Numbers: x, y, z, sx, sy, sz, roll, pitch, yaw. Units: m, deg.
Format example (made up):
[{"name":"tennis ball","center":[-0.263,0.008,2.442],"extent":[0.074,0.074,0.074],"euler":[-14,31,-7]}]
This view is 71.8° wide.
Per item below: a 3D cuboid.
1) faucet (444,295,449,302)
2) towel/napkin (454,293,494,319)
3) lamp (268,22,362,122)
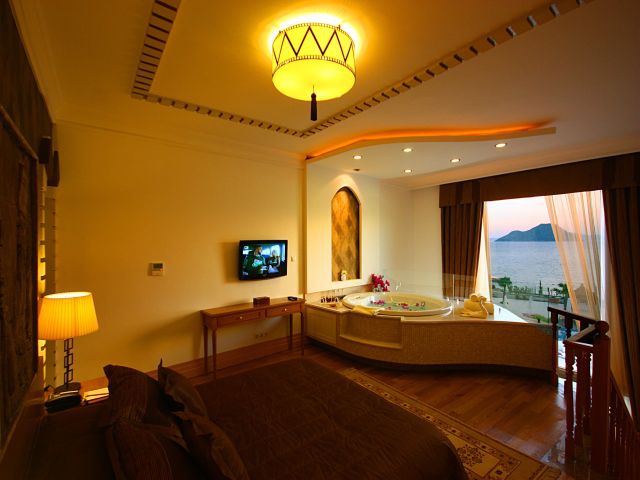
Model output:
[{"name":"faucet","center":[1.860,0.860,6.455],"extent":[0.064,0.061,0.199],"euler":[-3,-4,15]},{"name":"towel/napkin","center":[2.074,0.875,5.836],"extent":[0.266,0.167,0.354],"euler":[2,8,42]},{"name":"lamp","center":[-0.055,-1.547,4.052],"extent":[0.800,0.851,0.840],"euler":[10,22,27]}]
